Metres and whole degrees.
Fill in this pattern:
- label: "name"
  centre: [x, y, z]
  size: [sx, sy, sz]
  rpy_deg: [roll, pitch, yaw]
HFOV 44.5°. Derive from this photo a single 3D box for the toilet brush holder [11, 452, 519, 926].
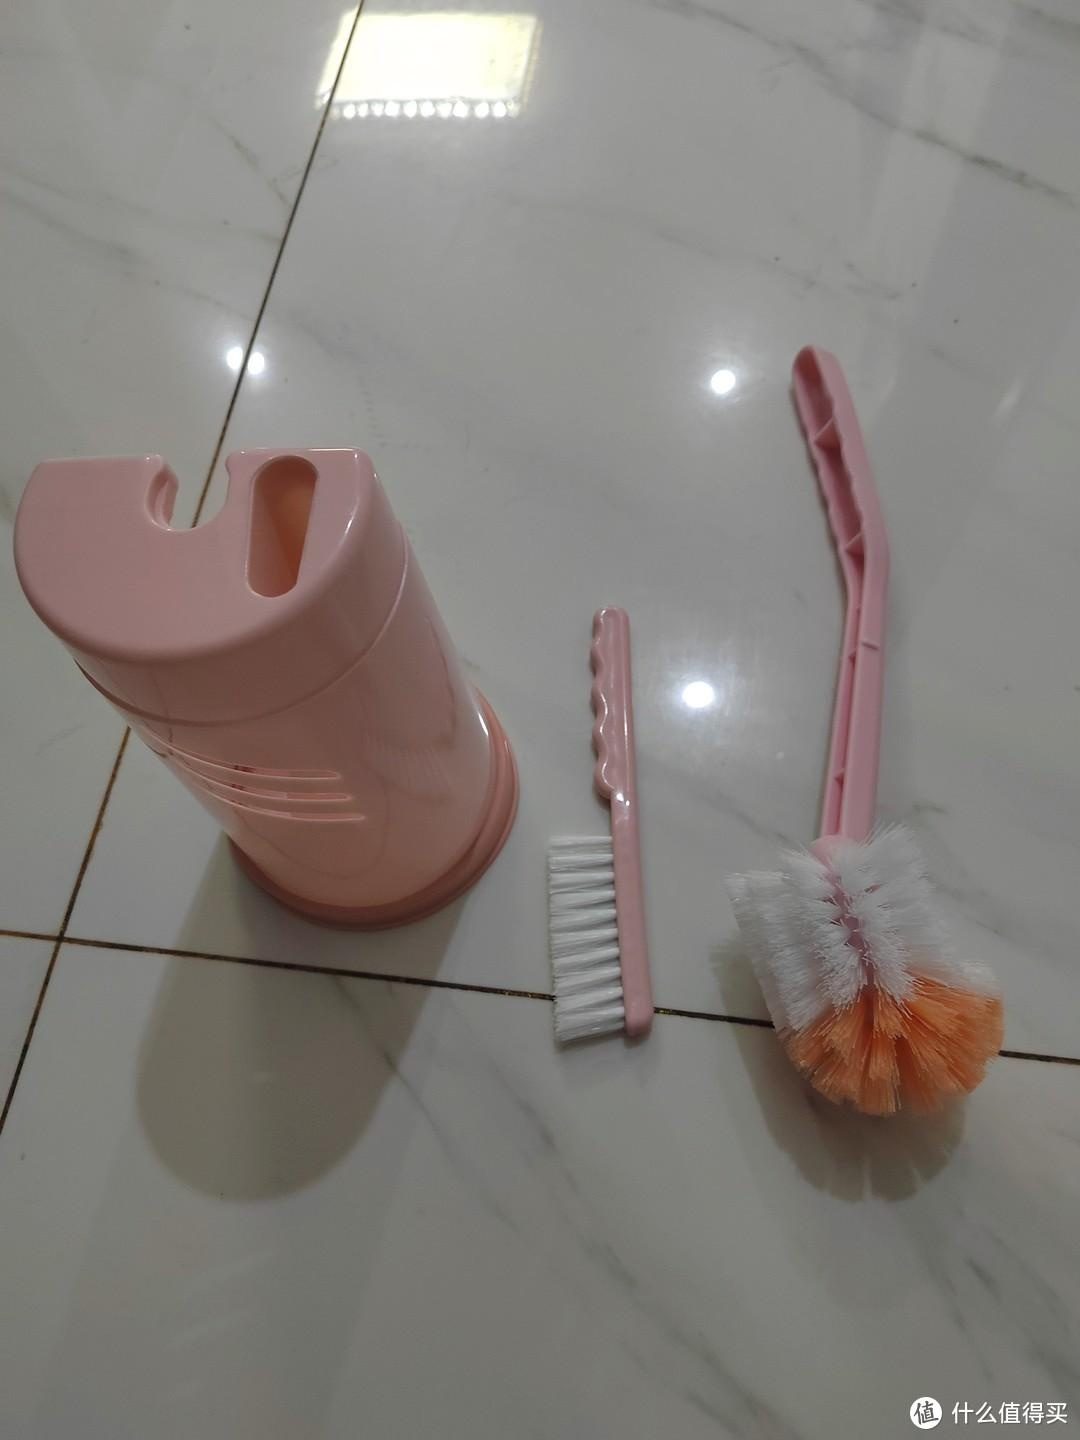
- label: "toilet brush holder"
  centre: [-0.131, -0.009, 0.723]
  size: [0.186, 0.370, 0.163]
  rpy_deg: [4, 68, 8]
